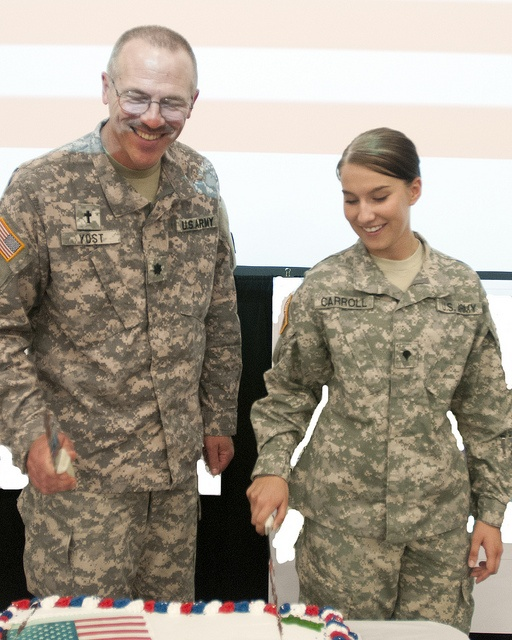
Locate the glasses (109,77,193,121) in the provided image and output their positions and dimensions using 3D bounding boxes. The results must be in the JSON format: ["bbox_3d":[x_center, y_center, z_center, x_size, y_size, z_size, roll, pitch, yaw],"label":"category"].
[{"bbox_3d":[-0.244,-0.517,1.631,0.181,0.105,0.060,-1,-2,-9],"label":"glasses"}]
